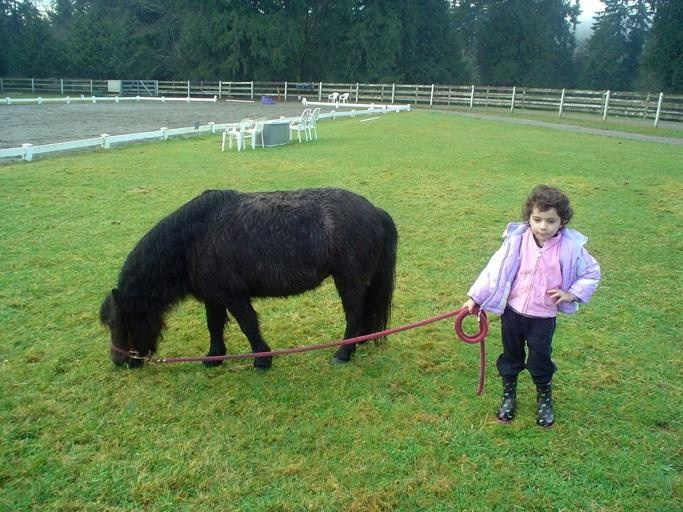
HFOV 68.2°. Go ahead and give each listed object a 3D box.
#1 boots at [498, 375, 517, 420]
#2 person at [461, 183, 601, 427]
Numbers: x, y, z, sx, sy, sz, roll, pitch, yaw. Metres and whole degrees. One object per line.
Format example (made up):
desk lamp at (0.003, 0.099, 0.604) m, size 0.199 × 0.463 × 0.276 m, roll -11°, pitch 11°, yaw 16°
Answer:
boots at (1.273, 1.094, 3.873) m, size 0.119 × 0.305 × 0.300 m, roll 8°, pitch 20°, yaw 26°
person at (1.391, 0.356, 3.720) m, size 0.856 × 1.752 × 0.444 m, roll 6°, pitch 17°, yaw 22°
